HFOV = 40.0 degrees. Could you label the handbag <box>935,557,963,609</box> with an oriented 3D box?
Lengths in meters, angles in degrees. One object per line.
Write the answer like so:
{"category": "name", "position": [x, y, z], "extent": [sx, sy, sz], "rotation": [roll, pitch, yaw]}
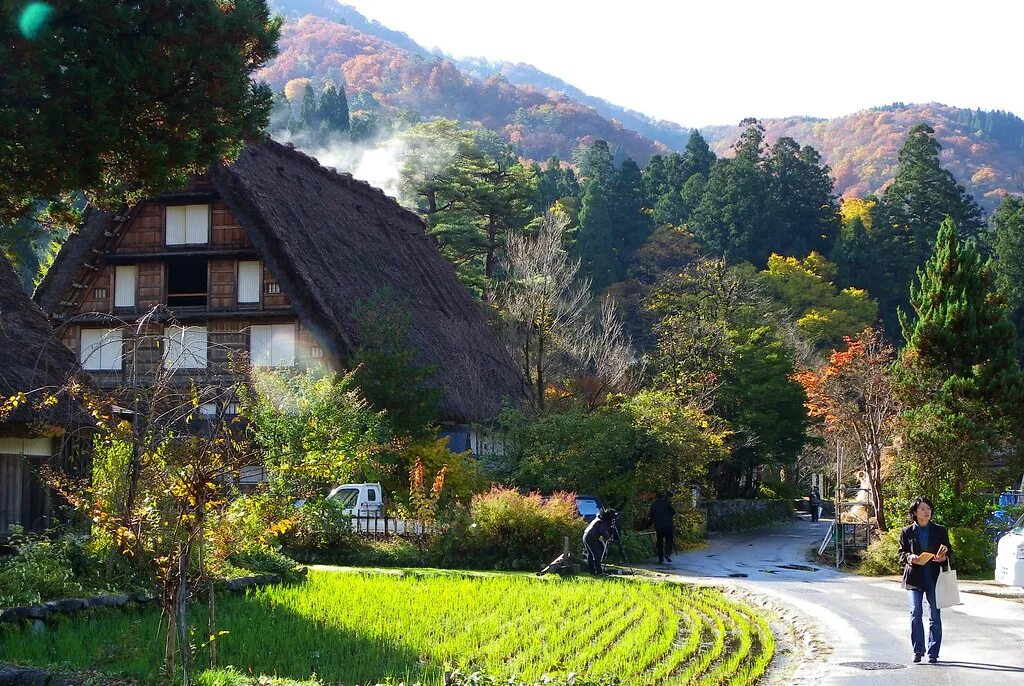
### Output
{"category": "handbag", "position": [8.837, 4.984, 28.578], "extent": [0.459, 1.003, 0.488], "rotation": [4, 9, 15]}

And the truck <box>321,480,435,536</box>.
{"category": "truck", "position": [-3.943, 4.662, 40.136], "extent": [2.236, 1.151, 1.520], "rotation": [1, -8, 8]}
